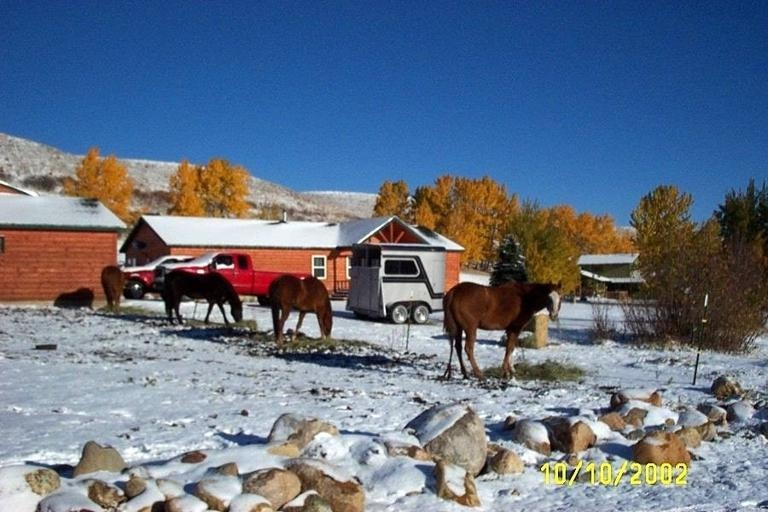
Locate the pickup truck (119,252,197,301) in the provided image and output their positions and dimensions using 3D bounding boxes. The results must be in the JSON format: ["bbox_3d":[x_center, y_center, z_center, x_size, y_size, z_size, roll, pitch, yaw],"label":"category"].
[{"bbox_3d":[-10.483,0.984,32.171,3.047,1.673,1.894,3,-5,-27],"label":"pickup truck"}]

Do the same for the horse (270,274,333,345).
[{"bbox_3d":[-2.478,1.540,20.597,0.724,1.926,3.287,-1,-5,24],"label":"horse"}]
